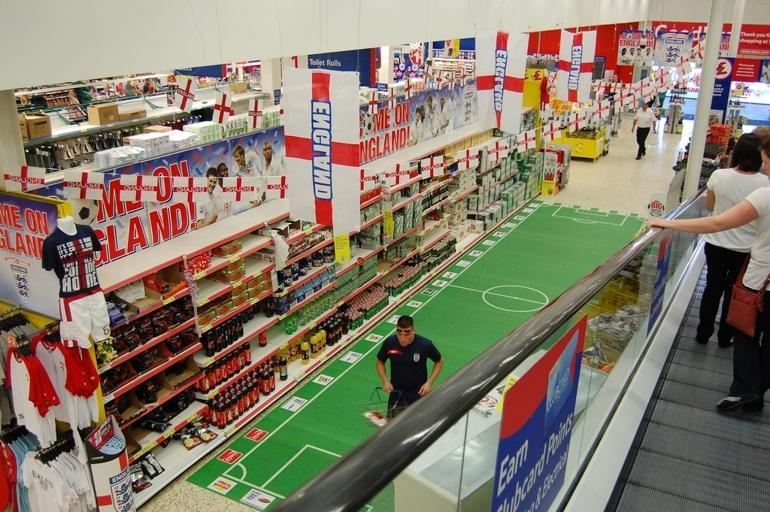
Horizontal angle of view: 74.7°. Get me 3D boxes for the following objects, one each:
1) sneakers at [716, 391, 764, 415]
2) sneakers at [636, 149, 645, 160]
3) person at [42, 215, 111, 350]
[{"bbox_3d":[2.898,1.196,4.162,0.383,0.176,0.156,1,19,5],"label":"sneakers"},{"bbox_3d":[9.937,-3.940,19.484,0.445,0.301,0.142,-51,23,-5],"label":"sneakers"},{"bbox_3d":[-3.108,0.322,5.114,0.569,1.443,0.420,-19,26,-34],"label":"person"}]
